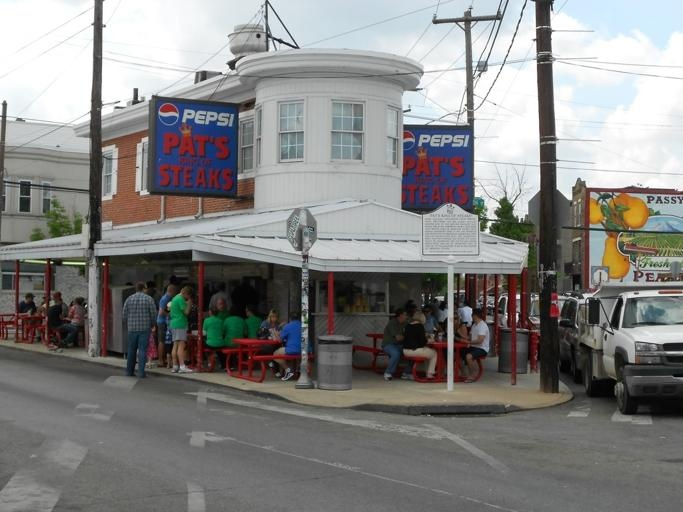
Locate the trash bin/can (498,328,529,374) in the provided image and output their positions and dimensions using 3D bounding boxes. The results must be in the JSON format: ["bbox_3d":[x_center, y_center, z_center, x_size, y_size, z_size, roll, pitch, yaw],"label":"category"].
[{"bbox_3d":[4.649,2.596,20.261,1.023,1.207,1.075,0,-5,1],"label":"trash bin/can"}]

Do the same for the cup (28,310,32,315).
[{"bbox_3d":[-11.609,2.138,27.741,0.120,0.189,0.055,2,-3,2],"label":"cup"}]

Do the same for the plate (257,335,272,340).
[{"bbox_3d":[-1.959,2.060,18.698,0.333,0.146,0.114,2,-3,29],"label":"plate"}]

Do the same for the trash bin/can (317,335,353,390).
[{"bbox_3d":[-0.160,2.333,16.328,0.738,1.157,0.423,1,-1,-6],"label":"trash bin/can"}]
